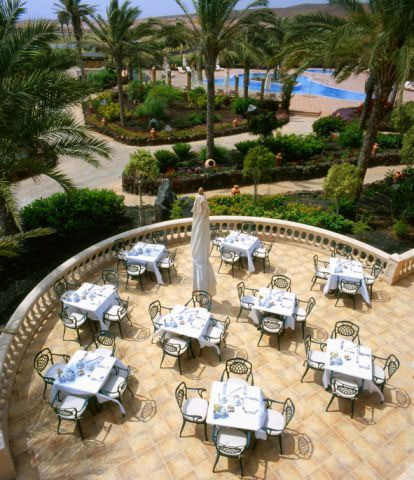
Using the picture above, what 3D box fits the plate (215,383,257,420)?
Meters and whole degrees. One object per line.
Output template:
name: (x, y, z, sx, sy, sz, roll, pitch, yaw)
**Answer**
plate: (0.529, 2.705, 6.382, 0.713, 0.170, 0.828, 4, 28, 9)
